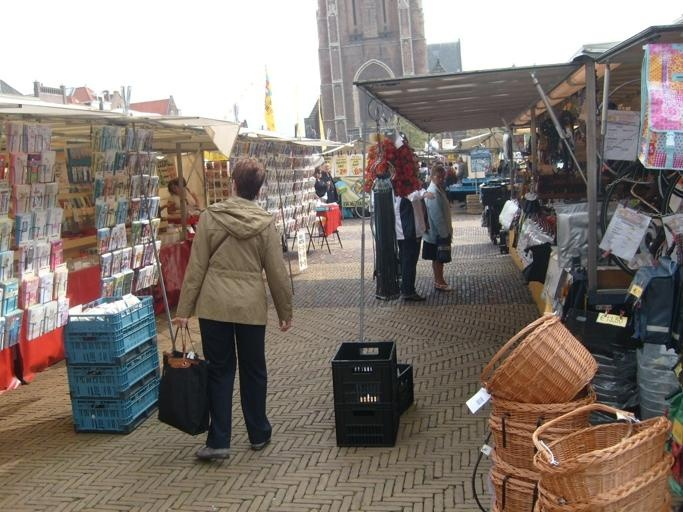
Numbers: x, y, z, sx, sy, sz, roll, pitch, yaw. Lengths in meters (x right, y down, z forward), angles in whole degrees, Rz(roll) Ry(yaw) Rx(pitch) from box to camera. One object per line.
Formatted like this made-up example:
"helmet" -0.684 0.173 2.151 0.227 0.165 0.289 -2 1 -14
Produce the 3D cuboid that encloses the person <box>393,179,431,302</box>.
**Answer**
"person" 1.079 -0.152 9.104 0.612 1.805 0.552 -4 8 -11

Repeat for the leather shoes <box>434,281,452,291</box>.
"leather shoes" 1.711 0.527 9.829 0.291 0.136 0.108 0 2 20

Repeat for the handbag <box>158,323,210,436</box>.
"handbag" -1.257 1.062 4.654 0.463 0.918 0.268 1 8 24

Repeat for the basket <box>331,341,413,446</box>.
"basket" 0.262 1.182 5.087 0.539 0.612 0.817 -1 3 7

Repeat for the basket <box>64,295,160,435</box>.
"basket" -2.097 1.044 5.336 0.438 0.876 0.870 0 28 3

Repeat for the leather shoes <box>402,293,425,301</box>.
"leather shoes" 1.154 0.680 9.313 0.333 0.171 0.135 -1 2 1

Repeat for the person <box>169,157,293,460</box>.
"person" -0.848 0.455 4.658 0.903 2.410 0.341 -5 8 -20
